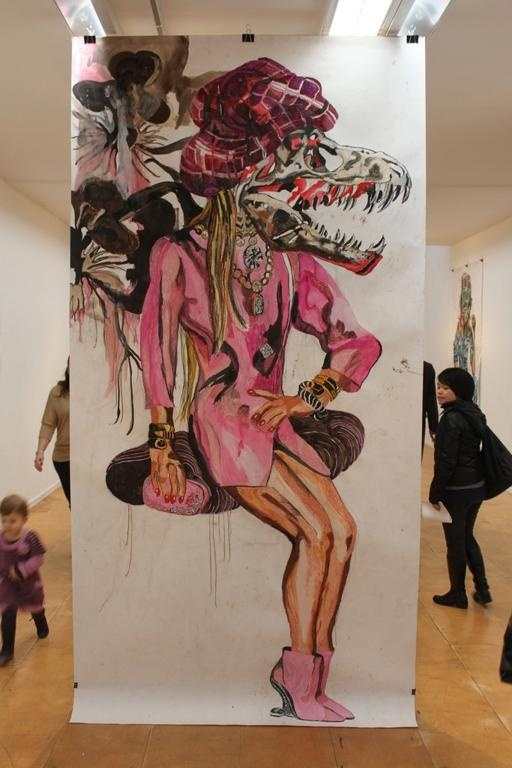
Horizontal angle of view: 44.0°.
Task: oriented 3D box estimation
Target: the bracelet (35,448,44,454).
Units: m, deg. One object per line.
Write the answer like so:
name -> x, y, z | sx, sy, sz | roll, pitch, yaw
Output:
bracelet -> -1.349, 0.421, 3.951 | 0.034, 0.019, 0.046 | -5, 0, 2

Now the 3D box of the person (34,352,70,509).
person -> -1.304, 0.335, 4.079 | 0.216, 0.883, 0.482 | -2, 9, -19

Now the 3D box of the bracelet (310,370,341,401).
bracelet -> 0.305, 0.002, 2.739 | 0.098, 0.121, 0.106 | -12, 47, -27

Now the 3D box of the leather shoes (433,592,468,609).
leather shoes -> 1.151, 1.284, 3.775 | 0.206, 0.099, 0.076 | 6, -3, 26
